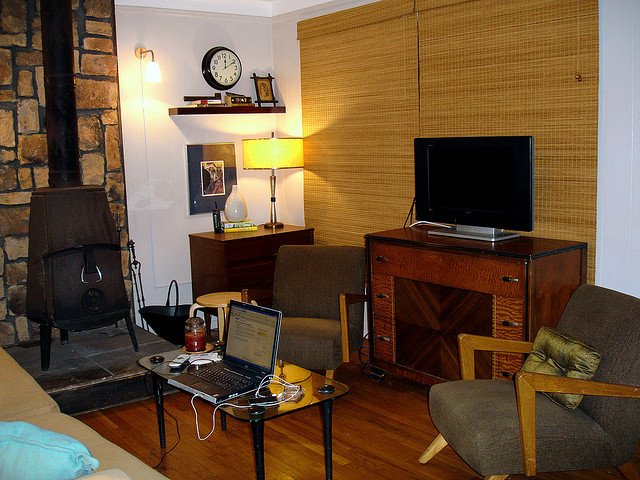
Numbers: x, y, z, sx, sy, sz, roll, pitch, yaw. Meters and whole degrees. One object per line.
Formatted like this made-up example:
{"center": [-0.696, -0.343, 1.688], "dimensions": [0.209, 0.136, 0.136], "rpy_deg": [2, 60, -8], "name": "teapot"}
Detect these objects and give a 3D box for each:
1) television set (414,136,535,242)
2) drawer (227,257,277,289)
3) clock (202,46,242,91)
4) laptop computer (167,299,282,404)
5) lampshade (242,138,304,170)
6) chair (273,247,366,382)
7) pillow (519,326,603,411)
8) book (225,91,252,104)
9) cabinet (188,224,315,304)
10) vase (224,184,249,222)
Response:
{"center": [1.077, -0.387, 3.724], "dimensions": [0.303, 0.690, 1.003], "rpy_deg": [-12, 14, -32], "name": "television set"}
{"center": [-0.632, 0.307, 4.930], "dimensions": [0.397, 0.162, 0.271], "rpy_deg": [-7, 5, -38], "name": "drawer"}
{"center": [-0.913, -1.724, 5.266], "dimensions": [0.440, 0.411, 0.122], "rpy_deg": [9, 18, 25], "name": "clock"}
{"center": [-0.502, 0.568, 2.750], "dimensions": [0.526, 0.340, 0.559], "rpy_deg": [-6, 7, -21], "name": "laptop computer"}
{"center": [-0.389, -0.836, 5.108], "dimensions": [0.386, 0.178, 0.393], "rpy_deg": [2, 4, 41], "name": "lampshade"}
{"center": [-0.053, 0.564, 4.058], "dimensions": [0.837, 0.935, 0.808], "rpy_deg": [1, 12, 12], "name": "chair"}
{"center": [1.231, 0.641, 2.717], "dimensions": [0.116, 0.349, 0.386], "rpy_deg": [26, 6, -27], "name": "pillow"}
{"center": [-0.803, -1.435, 5.300], "dimensions": [0.297, 0.131, 0.243], "rpy_deg": [-5, 10, -21], "name": "book"}
{"center": [-0.650, 0.295, 5.348], "dimensions": [0.584, 0.779, 1.133], "rpy_deg": [11, 15, 44], "name": "cabinet"}
{"center": [-0.815, -0.358, 5.159], "dimensions": [0.206, 0.348, 0.147], "rpy_deg": [-4, 10, -14], "name": "vase"}
